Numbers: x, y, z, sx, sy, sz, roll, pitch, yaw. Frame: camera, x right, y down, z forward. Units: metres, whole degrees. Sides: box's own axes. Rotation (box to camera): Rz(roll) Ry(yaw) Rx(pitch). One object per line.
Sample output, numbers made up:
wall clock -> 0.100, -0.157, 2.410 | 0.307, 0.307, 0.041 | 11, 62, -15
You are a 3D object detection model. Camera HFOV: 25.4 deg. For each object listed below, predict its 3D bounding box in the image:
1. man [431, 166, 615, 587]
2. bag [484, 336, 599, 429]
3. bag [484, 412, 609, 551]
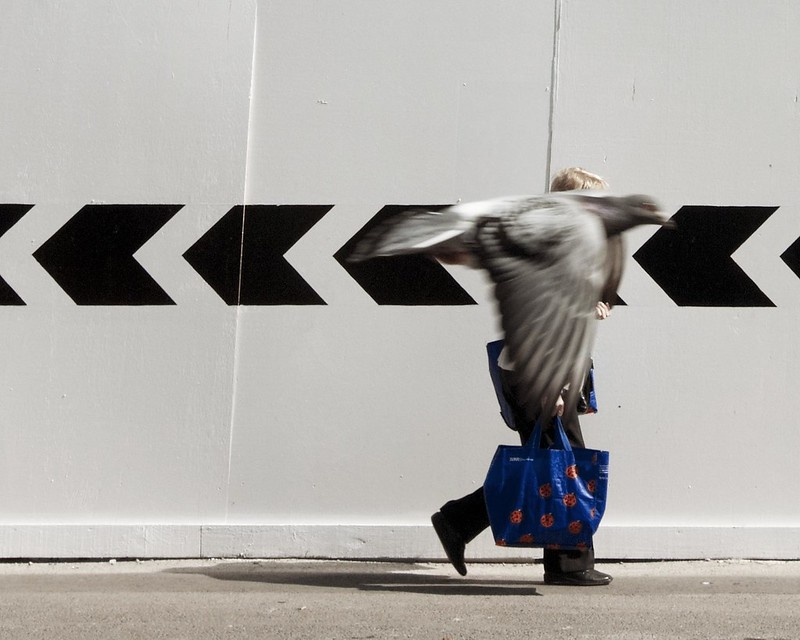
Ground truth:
man -> 0.624, 0.543, 7.758 | 1.074, 0.657, 2.179 | -8, -40, -3
bag -> 0.649, 0.311, 8.241 | 0.353, 0.505, 0.468 | -2, 0, 5
bag -> 0.665, 0.755, 8.063 | 0.703, 0.787, 0.230 | 1, -6, 6
